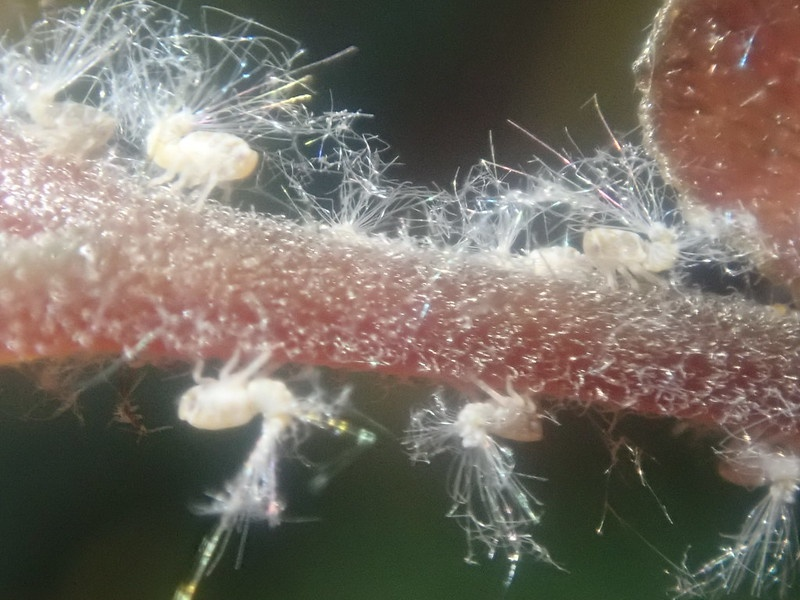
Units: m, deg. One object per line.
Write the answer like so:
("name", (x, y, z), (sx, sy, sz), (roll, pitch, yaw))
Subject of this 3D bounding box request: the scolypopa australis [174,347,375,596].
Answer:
("scolypopa australis", (-0.281, 0.372, 1.407), (0.389, 0.376, 0.044), (15, 7, -5))

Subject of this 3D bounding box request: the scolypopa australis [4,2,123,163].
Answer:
("scolypopa australis", (-0.684, -0.418, 1.513), (0.229, 0.364, 0.143), (7, -12, -5))

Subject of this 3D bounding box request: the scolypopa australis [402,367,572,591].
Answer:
("scolypopa australis", (0.179, 0.360, 1.450), (0.281, 0.351, 0.114), (-13, 13, 9))
